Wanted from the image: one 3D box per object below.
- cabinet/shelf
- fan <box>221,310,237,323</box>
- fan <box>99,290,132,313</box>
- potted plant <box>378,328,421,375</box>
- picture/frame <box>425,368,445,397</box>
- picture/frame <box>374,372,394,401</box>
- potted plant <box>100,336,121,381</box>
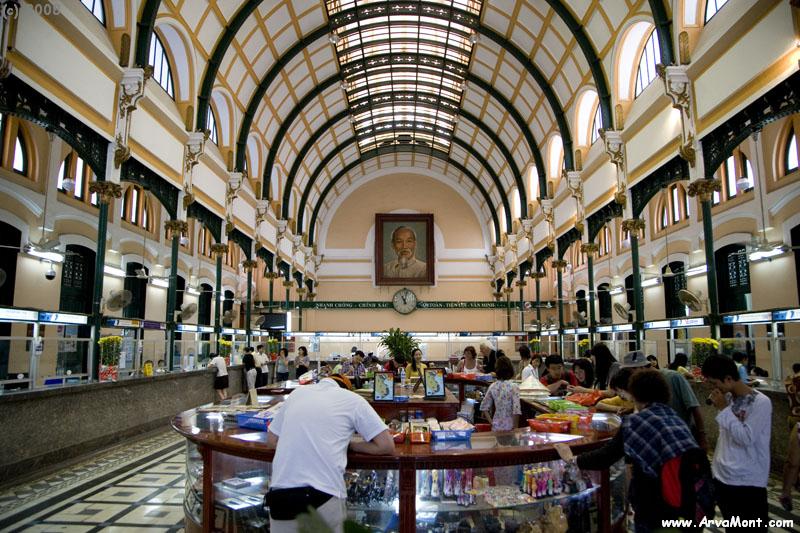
[{"bbox_3d":[-0.215,2.464,6.889,5.627,1.974,1.522,0,-10,-7],"label":"cabinet/shelf"},{"bbox_3d":[-6.595,1.909,20.674,0.378,0.535,0.681,1,-10,-16],"label":"fan"},{"bbox_3d":[-7.640,0.844,14.539,0.508,0.592,1.191,2,-11,-22],"label":"fan"},{"bbox_3d":[-0.011,2.690,17.880,1.156,1.689,1.579,2,-6,-15],"label":"potted plant"},{"bbox_3d":[0.654,2.200,10.119,0.489,0.694,0.046,0,-16,3],"label":"picture/frame"},{"bbox_3d":[-0.284,2.089,9.312,0.484,0.687,0.086,1,-18,-2],"label":"picture/frame"},{"bbox_3d":[-6.773,2.113,12.484,0.470,1.030,0.788,4,-11,-29],"label":"potted plant"}]
